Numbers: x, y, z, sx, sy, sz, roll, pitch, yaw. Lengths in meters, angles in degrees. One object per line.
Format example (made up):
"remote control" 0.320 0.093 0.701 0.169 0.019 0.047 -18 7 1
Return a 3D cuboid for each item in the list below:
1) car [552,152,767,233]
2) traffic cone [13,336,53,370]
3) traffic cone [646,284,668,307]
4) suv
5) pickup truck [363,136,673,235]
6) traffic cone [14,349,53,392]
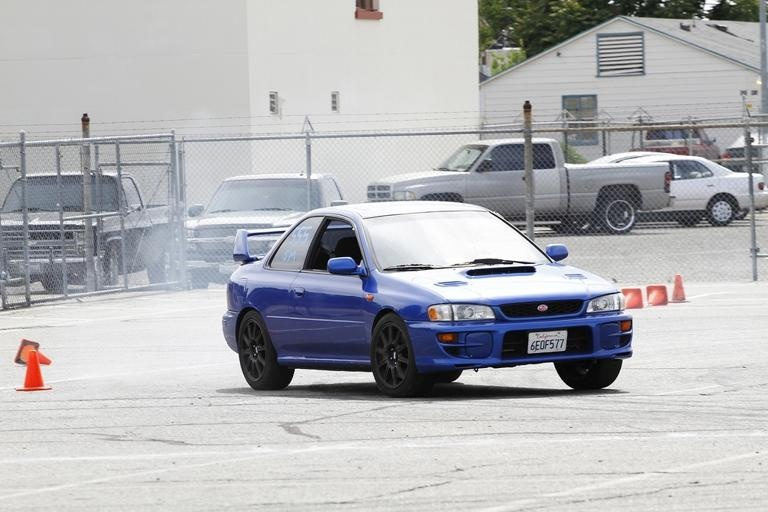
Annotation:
"car" 7.410 -1.709 37.604 5.191 1.345 2.149 1 3 -7
"traffic cone" -4.845 1.308 19.354 0.595 0.428 0.333 16 -11 -6
"traffic cone" 4.501 0.625 23.300 0.330 0.301 0.301 -1 8 11
"suv" -2.429 -0.696 26.916 2.135 1.349 3.160 -1 -1 14
"pickup truck" 3.487 -1.524 34.215 6.960 1.855 2.733 0 1 -19
"traffic cone" -4.414 1.448 17.833 0.580 0.504 0.532 2 4 5
